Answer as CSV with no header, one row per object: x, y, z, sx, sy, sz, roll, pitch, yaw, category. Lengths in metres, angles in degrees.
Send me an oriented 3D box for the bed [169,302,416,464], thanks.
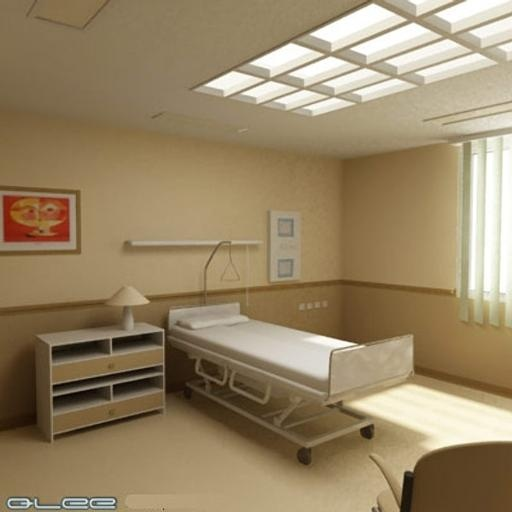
0.099,0.837,3.702,1.069,0.973,2.111,-3,4,-32,bed

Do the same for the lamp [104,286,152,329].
-1.174,0.470,3.841,0.379,0.425,0.395,2,3,24,lamp

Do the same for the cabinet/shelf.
-1.352,1.055,3.705,1.006,0.807,0.486,-2,3,-36,cabinet/shelf
